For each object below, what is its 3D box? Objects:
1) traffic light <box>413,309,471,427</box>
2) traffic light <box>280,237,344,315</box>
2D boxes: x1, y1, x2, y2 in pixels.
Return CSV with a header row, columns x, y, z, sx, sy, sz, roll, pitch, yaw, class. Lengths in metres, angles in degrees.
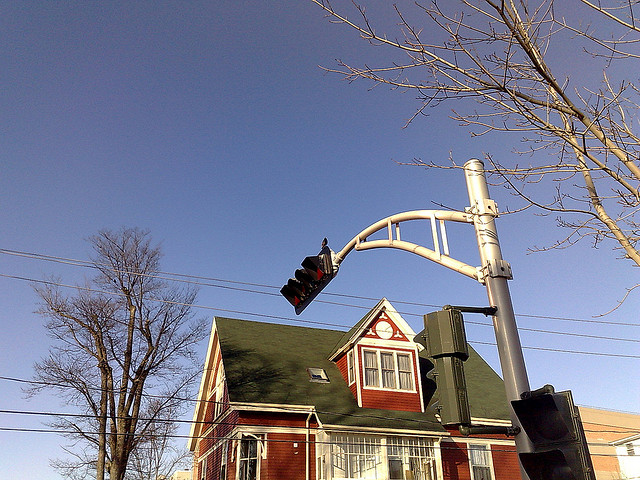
x,y,z,sx,sy,sz,roll,pitch,yaw,class
1.857,1.905,8.983,0.738,1.636,0.541,-8,-30,11,traffic light
-0.109,0.741,12.038,0.661,0.881,1.272,16,-44,-31,traffic light
